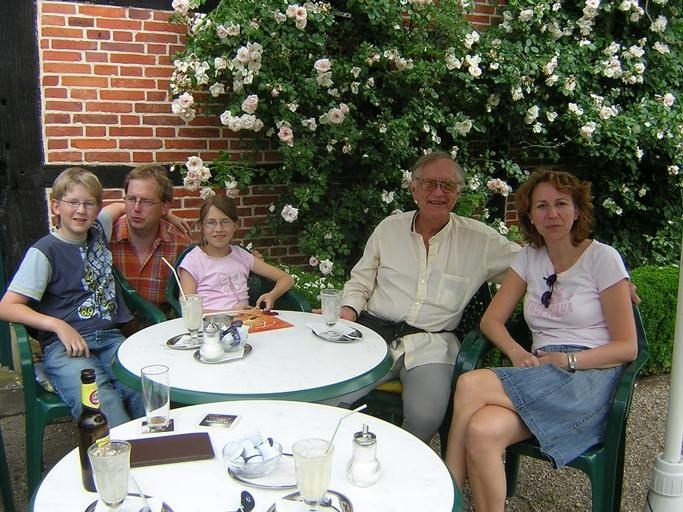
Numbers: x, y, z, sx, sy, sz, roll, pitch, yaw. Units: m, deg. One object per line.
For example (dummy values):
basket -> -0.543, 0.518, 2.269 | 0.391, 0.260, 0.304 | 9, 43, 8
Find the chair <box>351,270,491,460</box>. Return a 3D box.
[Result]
chair -> 0.612, 0.671, 3.582 | 0.868, 1.200, 0.923 | 1, -18, 34

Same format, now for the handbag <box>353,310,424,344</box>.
handbag -> 0.302, 0.411, 3.748 | 0.320, 0.152, 0.550 | 4, 3, -37

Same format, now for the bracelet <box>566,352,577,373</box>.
bracelet -> 1.193, 0.555, 2.958 | 0.052, 0.088, 0.084 | 0, -35, 15

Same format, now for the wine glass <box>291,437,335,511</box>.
wine glass -> -0.092, 0.688, 1.796 | 0.126, 0.203, 0.133 | 4, 11, 0

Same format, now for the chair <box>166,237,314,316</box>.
chair -> -0.659, 0.204, 3.821 | 0.599, 0.775, 0.613 | -4, -1, -38

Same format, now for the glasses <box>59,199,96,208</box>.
glasses -> -1.524, -0.298, 3.331 | 0.169, 0.050, 0.048 | -2, 12, -28

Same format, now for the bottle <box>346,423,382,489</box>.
bottle -> 0.077, 0.672, 1.937 | 0.116, 0.198, 0.122 | 2, 8, 0

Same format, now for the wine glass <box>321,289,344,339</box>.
wine glass -> -0.048, 0.303, 2.968 | 0.120, 0.237, 0.119 | 3, 10, 14
